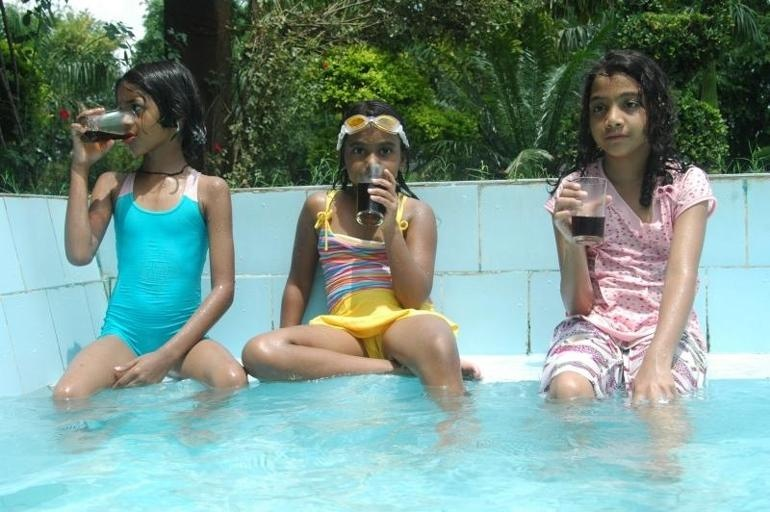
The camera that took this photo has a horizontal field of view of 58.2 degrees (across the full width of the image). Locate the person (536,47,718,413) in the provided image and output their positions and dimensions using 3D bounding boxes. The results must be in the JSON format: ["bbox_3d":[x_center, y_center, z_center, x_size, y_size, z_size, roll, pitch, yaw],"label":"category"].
[{"bbox_3d":[1.120,-0.187,3.299,0.795,1.647,0.750,1,5,25],"label":"person"}]

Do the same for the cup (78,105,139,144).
[{"bbox_3d":[-1.456,-0.688,3.648,0.259,0.156,0.163,2,6,35],"label":"cup"}]

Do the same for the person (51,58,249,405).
[{"bbox_3d":[-1.228,-0.199,3.629,0.889,1.700,0.780,-2,5,-14],"label":"person"}]
